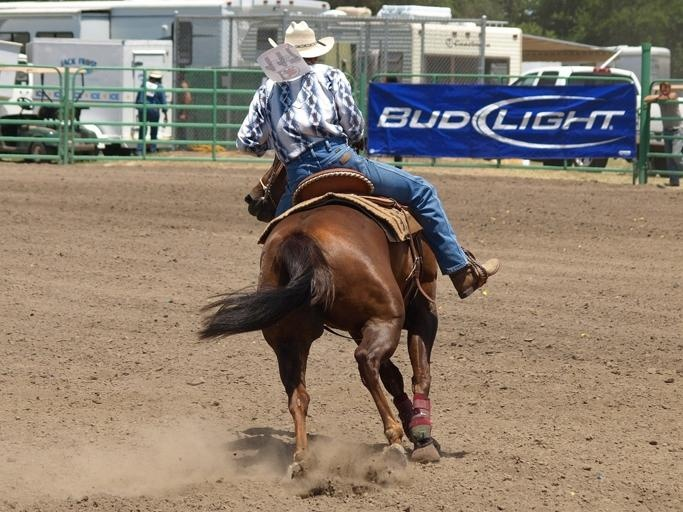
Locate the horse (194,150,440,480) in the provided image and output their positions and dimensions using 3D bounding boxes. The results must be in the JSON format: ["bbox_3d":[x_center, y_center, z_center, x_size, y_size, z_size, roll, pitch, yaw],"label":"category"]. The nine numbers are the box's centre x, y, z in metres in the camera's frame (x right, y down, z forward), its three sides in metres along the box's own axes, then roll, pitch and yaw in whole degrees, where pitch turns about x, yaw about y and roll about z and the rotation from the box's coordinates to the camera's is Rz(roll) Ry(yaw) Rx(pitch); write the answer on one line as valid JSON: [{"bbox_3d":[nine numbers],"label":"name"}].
[{"bbox_3d":[-0.102,0.558,9.812,2.068,2.464,1.046,1,9,-8],"label":"horse"}]

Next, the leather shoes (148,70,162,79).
[{"bbox_3d":[-3.749,-3.579,22.296,0.226,0.085,0.244,3,11,1],"label":"leather shoes"}]

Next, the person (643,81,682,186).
[{"bbox_3d":[5.795,-2.152,20.009,0.690,1.837,1.332,5,9,16],"label":"person"}]
